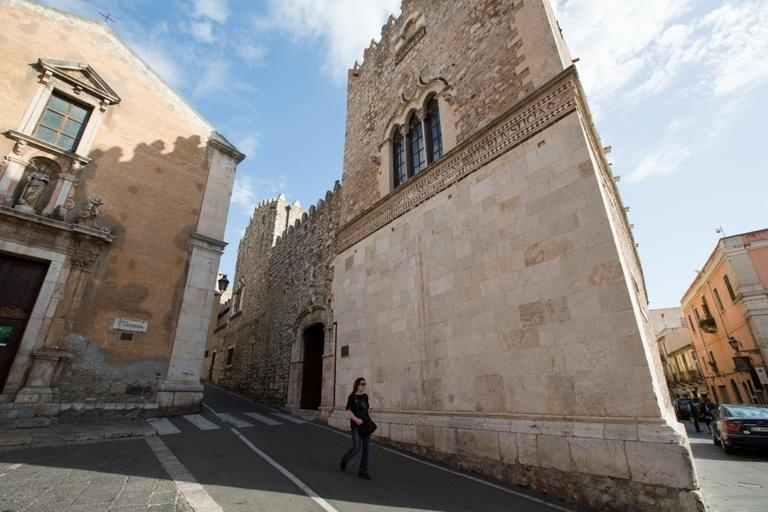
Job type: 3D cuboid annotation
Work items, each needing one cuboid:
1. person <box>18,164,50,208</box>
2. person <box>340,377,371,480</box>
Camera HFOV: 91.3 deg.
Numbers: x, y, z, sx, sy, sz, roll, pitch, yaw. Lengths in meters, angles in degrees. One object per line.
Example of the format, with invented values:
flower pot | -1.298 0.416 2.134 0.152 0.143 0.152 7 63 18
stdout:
person | -10.379 -2.056 11.197 0.589 1.051 0.790 10 -8 -43
person | -0.544 3.755 8.314 0.655 2.040 0.965 5 -6 -4
